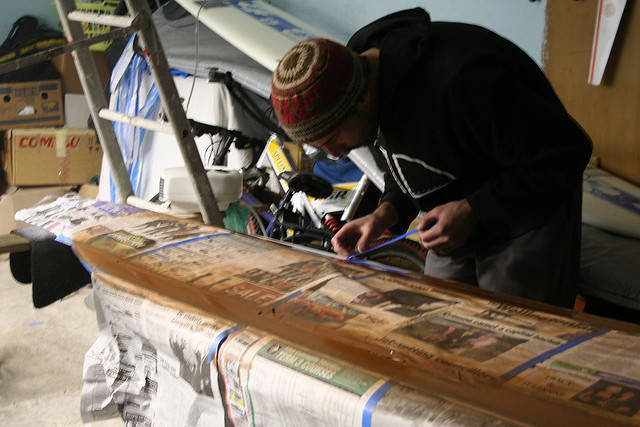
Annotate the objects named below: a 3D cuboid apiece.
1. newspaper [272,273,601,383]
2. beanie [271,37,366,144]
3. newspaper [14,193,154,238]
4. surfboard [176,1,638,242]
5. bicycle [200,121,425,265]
[{"bbox_3d":[0.207,0.225,0.888,0.671,0.033,0.408,8,14,34],"label":"newspaper"},{"bbox_3d":[-0.003,-0.287,0.966,0.231,0.236,0.089,-20,-28,24],"label":"beanie"},{"bbox_3d":[-0.790,0.000,1.305,0.168,0.011,0.251,20,26,29],"label":"newspaper"},{"bbox_3d":[0.354,-0.321,1.510,1.850,0.085,0.270,43,29,27],"label":"surfboard"},{"bbox_3d":[-0.077,0.011,2.115,0.634,0.681,1.053,6,21,-11],"label":"bicycle"}]
